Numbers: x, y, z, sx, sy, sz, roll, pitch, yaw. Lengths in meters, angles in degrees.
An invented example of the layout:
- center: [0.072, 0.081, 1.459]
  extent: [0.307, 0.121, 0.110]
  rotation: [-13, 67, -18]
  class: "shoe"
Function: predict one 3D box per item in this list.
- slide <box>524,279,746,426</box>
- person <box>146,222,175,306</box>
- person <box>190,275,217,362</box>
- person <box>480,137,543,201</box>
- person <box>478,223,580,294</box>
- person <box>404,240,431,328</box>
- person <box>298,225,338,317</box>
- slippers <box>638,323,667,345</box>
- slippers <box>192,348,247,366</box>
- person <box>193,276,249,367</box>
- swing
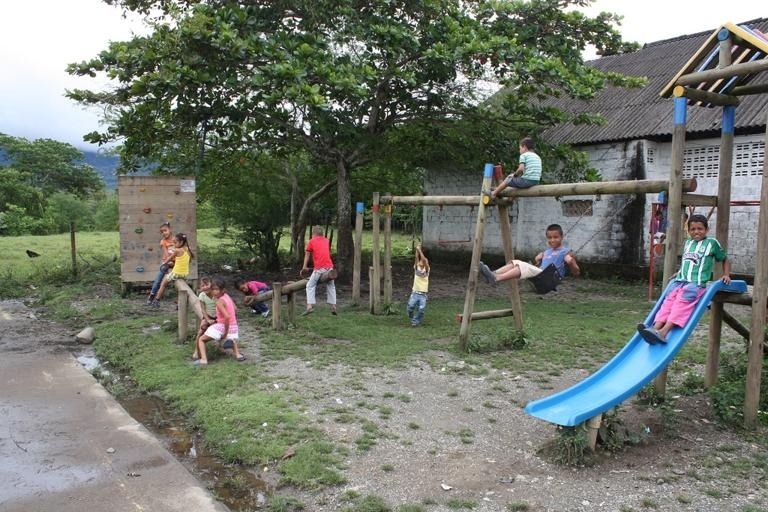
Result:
- center: [3.538, 1.326, 9.178]
  extent: [2.893, 2.007, 1.053]
  rotation: [-1, 5, -30]
  class: "slide"
- center: [-5.190, 0.112, 15.190]
  extent: [0.824, 2.188, 0.818]
  rotation: [4, -3, -39]
  class: "person"
- center: [-3.262, 1.094, 11.506]
  extent: [0.425, 1.444, 0.444]
  rotation: [3, -3, 0]
  class: "person"
- center: [2.456, -1.620, 11.676]
  extent: [0.815, 1.073, 0.400]
  rotation: [3, 5, 27]
  class: "person"
- center: [2.602, 0.035, 11.450]
  extent: [1.811, 1.229, 0.847]
  rotation: [1, -1, -26]
  class: "person"
- center: [0.756, 0.646, 13.480]
  extent: [0.422, 1.682, 0.615]
  rotation: [6, -3, 18]
  class: "person"
- center: [-1.360, 0.286, 13.982]
  extent: [0.907, 2.097, 0.952]
  rotation: [2, -1, -22]
  class: "person"
- center: [3.867, 1.130, 9.243]
  extent: [0.414, 0.225, 0.175]
  rotation: [28, 23, 24]
  class: "slippers"
- center: [-2.909, 1.773, 11.179]
  extent: [0.910, 0.191, 0.332]
  rotation: [0, 4, -20]
  class: "slippers"
- center: [-2.892, 1.119, 11.323]
  extent: [0.731, 1.549, 0.688]
  rotation: [4, 4, 31]
  class: "person"
- center: [3.230, 0.069, 11.962]
  extent: [1.736, 2.266, 0.827]
  rotation: [-1, 2, 16]
  class: "swing"
